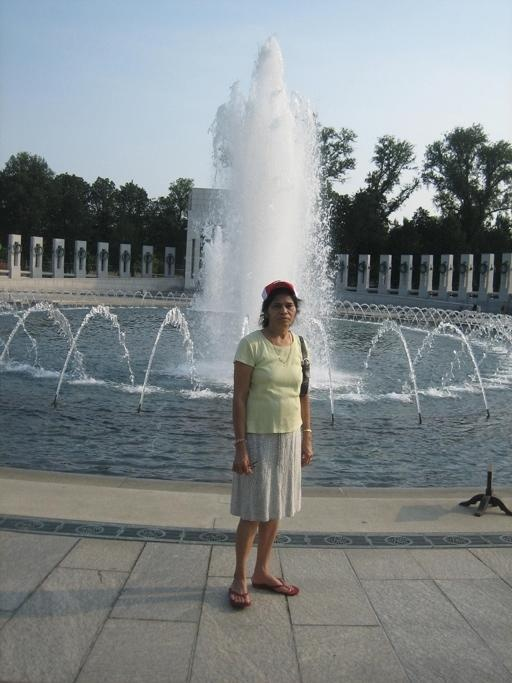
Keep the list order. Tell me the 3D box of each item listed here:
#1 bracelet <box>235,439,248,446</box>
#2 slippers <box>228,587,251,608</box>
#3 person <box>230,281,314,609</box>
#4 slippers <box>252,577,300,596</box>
[{"bbox_3d":[-0.072,0.481,3.156,0.036,0.042,0.016,14,10,8],"label":"bracelet"},{"bbox_3d":[-0.072,1.164,3.078,0.106,0.068,0.114,3,5,-2],"label":"slippers"},{"bbox_3d":[0.102,0.456,3.234,0.517,1.479,0.396,1,5,-23],"label":"person"},{"bbox_3d":[0.091,1.160,3.241,0.183,0.044,0.080,0,3,21],"label":"slippers"}]
